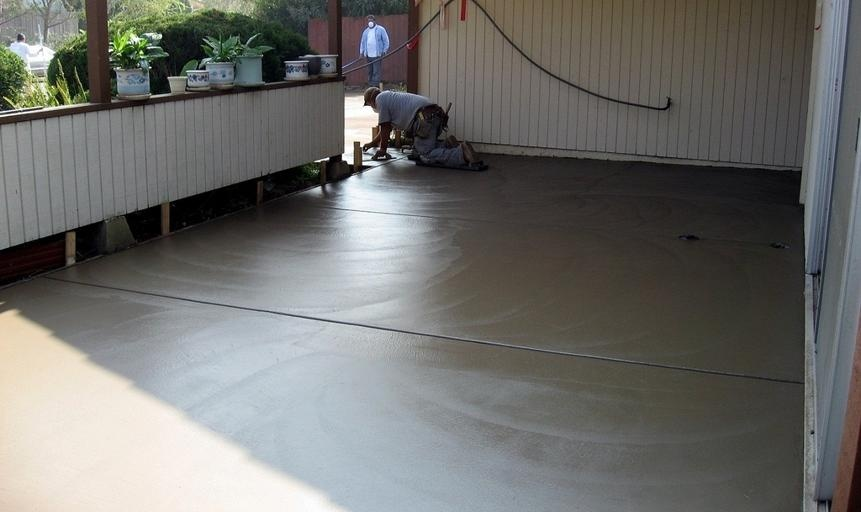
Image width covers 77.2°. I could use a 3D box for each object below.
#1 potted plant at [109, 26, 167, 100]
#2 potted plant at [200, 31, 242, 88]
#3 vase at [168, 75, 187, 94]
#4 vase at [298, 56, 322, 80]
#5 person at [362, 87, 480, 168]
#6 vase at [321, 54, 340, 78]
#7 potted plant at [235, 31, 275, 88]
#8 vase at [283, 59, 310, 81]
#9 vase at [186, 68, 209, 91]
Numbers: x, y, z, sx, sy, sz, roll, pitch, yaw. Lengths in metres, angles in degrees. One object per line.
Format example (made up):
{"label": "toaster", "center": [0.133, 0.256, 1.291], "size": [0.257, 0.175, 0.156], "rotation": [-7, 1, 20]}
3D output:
{"label": "potted plant", "center": [-2.951, -1.909, 5.593], "size": [0.617, 0.651, 0.693], "rotation": [20, 7, -24]}
{"label": "potted plant", "center": [-2.505, -2.329, 6.483], "size": [0.444, 0.556, 0.768], "rotation": [-6, 22, -17]}
{"label": "vase", "center": [-2.786, -1.876, 5.924], "size": [0.196, 0.151, 0.203], "rotation": [-1, 11, -6]}
{"label": "vase", "center": [-1.753, -2.699, 7.767], "size": [0.322, 0.363, 0.335], "rotation": [-5, 21, -13]}
{"label": "person", "center": [-0.317, -2.221, 9.231], "size": [2.251, 1.294, 0.969], "rotation": [11, 23, 28]}
{"label": "vase", "center": [-1.487, -2.786, 7.905], "size": [0.298, 0.296, 0.310], "rotation": [0, 17, -1]}
{"label": "potted plant", "center": [-2.199, -2.406, 6.687], "size": [0.379, 0.461, 0.418], "rotation": [-10, 22, -5]}
{"label": "vase", "center": [-1.856, -2.564, 7.458], "size": [0.314, 0.262, 0.294], "rotation": [-5, 21, -15]}
{"label": "vase", "center": [-2.631, -1.974, 6.074], "size": [0.227, 0.183, 0.235], "rotation": [-2, 13, -11]}
